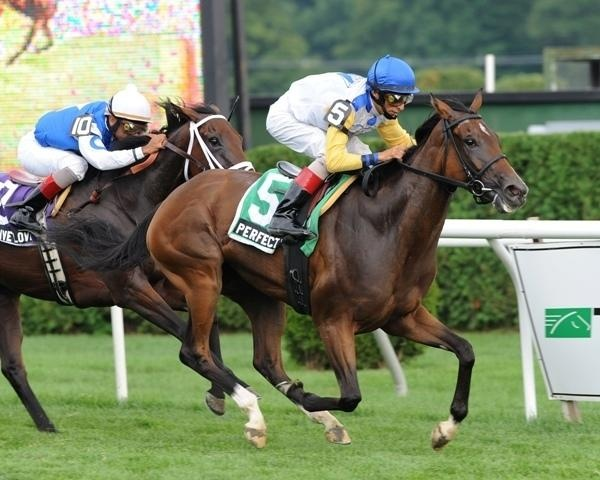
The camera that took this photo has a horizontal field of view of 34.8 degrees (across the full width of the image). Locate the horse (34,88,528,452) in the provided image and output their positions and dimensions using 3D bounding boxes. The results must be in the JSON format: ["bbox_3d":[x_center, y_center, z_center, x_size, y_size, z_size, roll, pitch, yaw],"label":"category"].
[{"bbox_3d":[0.026,0.158,4.982,2.270,1.786,0.541,1,4,13],"label":"horse"}]

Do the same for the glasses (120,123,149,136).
[{"bbox_3d":[-0.948,-0.640,5.520,0.084,0.027,0.101,7,8,-34],"label":"glasses"}]

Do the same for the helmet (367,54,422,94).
[{"bbox_3d":[0.483,-0.849,4.850,0.250,0.149,0.311,-23,31,-38],"label":"helmet"}]

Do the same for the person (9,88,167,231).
[{"bbox_3d":[-1.228,-0.527,5.653,0.802,0.723,0.744,-7,24,-38],"label":"person"}]
